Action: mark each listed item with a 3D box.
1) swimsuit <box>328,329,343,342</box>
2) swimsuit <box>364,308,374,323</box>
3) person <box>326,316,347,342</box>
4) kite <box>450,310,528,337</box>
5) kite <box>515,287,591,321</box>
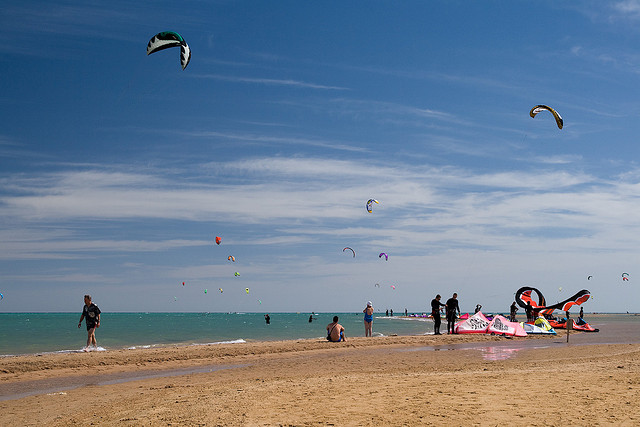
[{"bbox_3d":[0.877,5.393,28.878,0.478,0.495,0.187,4,-8,8],"label":"swimsuit"},{"bbox_3d":[2.245,4.749,30.410,0.568,0.692,0.395,0,5,-7],"label":"swimsuit"},{"bbox_3d":[0.729,5.141,29.084,1.032,1.193,0.919,0,5,8],"label":"person"},{"bbox_3d":[8.190,5.427,31.713,3.333,0.973,1.263,0,-1,9],"label":"kite"},{"bbox_3d":[13.548,5.365,38.678,3.044,1.804,3.046,0,-1,-5],"label":"kite"}]
